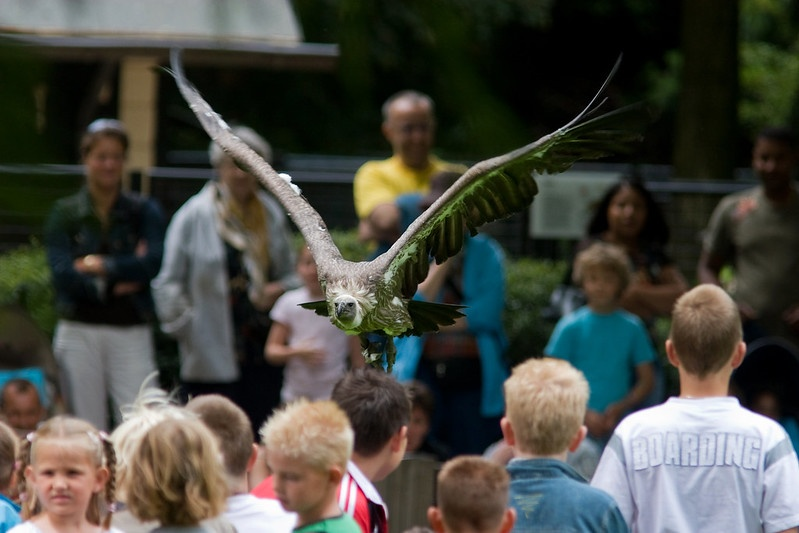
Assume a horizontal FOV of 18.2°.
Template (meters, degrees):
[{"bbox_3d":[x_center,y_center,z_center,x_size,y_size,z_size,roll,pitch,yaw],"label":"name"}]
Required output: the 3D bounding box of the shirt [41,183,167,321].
[{"bbox_3d":[-2.946,-0.067,24.350,1.173,1.290,0.732,-1,17,-22],"label":"shirt"}]
